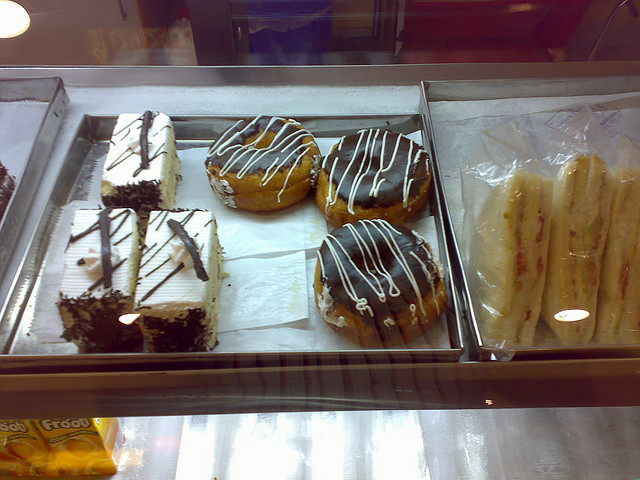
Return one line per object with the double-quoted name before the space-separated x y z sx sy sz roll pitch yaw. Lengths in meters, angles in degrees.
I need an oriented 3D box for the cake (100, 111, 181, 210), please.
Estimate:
"cake" -0.728 -0.308 1.991 0.351 0.328 0.409 0 56 -3
